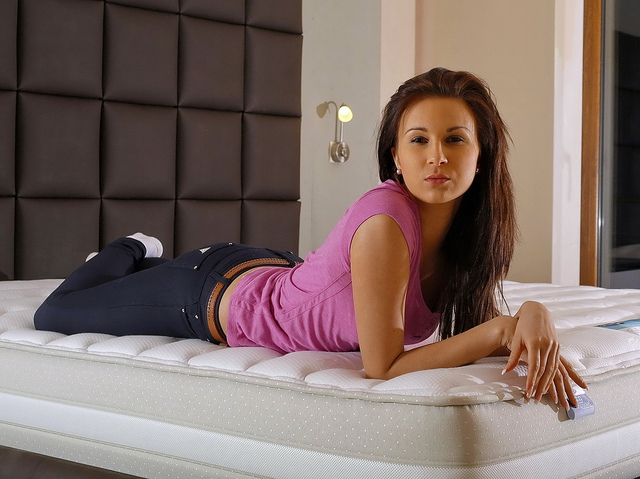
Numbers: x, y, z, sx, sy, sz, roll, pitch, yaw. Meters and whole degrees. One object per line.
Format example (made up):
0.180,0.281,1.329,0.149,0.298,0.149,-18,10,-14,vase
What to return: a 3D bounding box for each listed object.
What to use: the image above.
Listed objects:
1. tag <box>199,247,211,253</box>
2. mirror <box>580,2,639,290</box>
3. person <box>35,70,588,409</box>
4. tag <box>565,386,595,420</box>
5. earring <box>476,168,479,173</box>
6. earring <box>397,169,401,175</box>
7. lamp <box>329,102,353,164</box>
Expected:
-0.355,0.031,1.675,0.028,0.012,0.045,-11,2,-2,tag
2.164,-0.718,4.104,0.475,2.149,0.361,-3,-7,25,mirror
-0.201,0.051,1.847,1.922,1.105,0.670,1,5,33,person
0.559,0.341,1.155,0.061,0.031,0.085,-37,10,45,tag
0.388,-0.173,1.350,0.004,0.008,0.008,6,-14,-14,earring
0.202,-0.176,1.394,0.012,0.017,0.018,2,3,-8,earring
0.154,-0.790,4.183,0.162,0.443,0.492,0,-8,3,lamp
